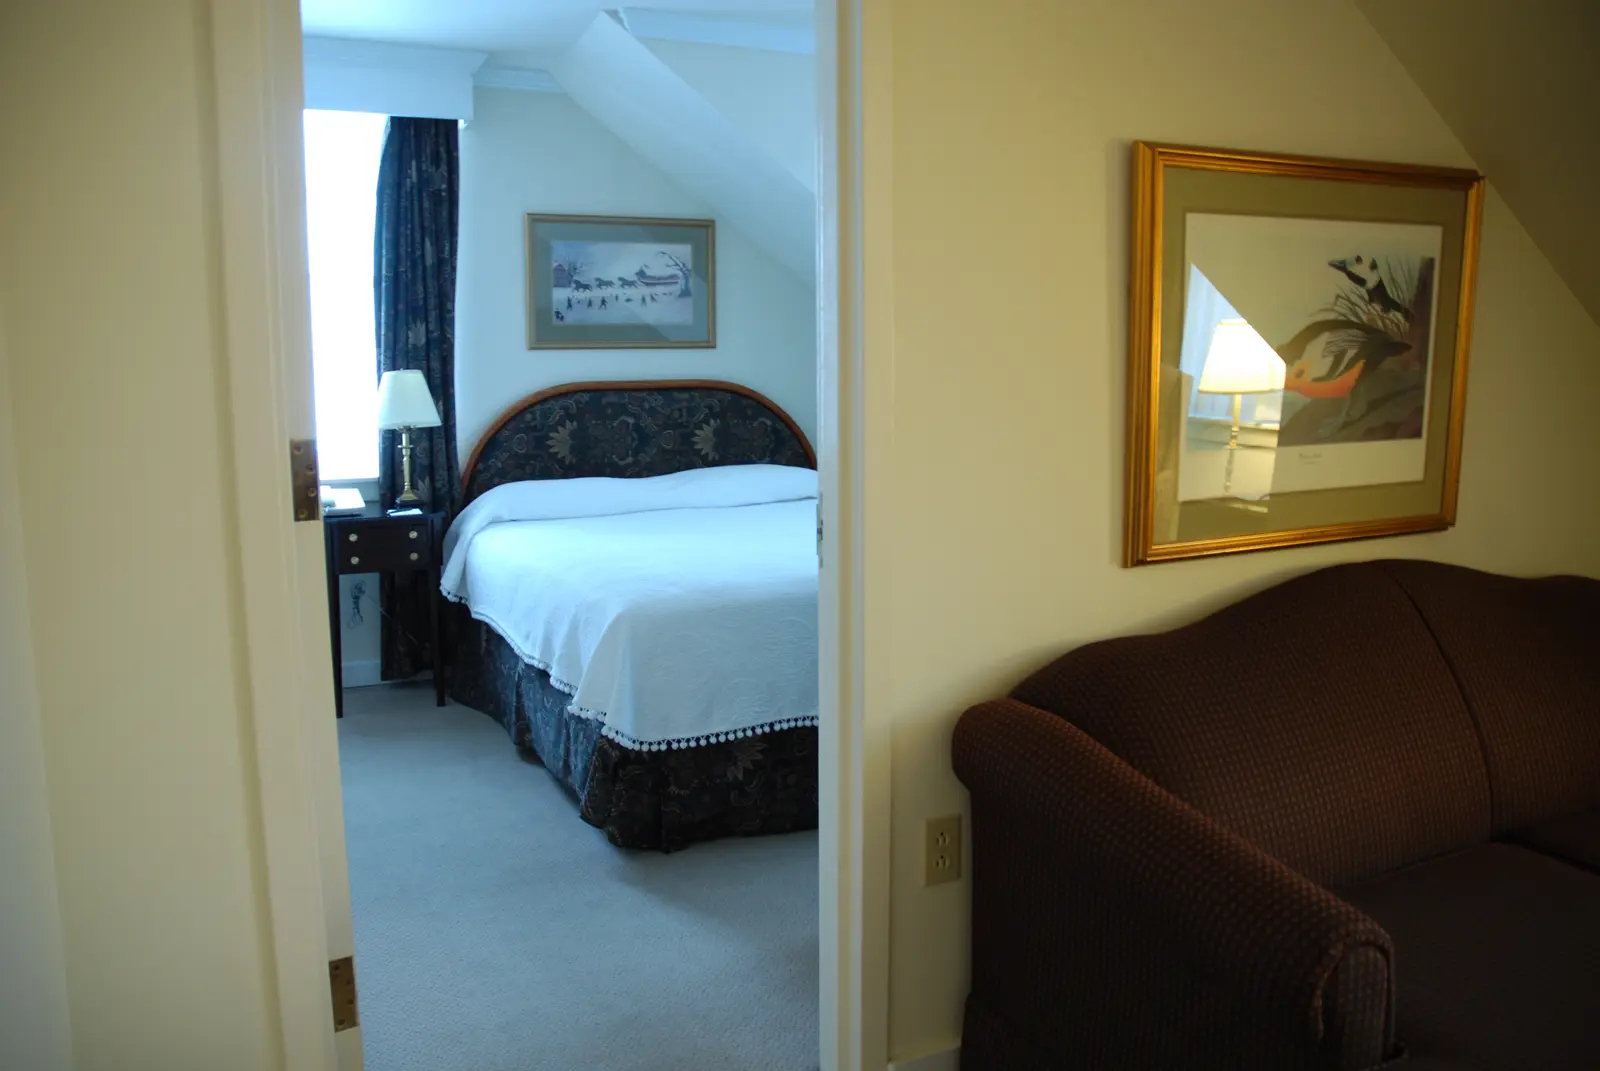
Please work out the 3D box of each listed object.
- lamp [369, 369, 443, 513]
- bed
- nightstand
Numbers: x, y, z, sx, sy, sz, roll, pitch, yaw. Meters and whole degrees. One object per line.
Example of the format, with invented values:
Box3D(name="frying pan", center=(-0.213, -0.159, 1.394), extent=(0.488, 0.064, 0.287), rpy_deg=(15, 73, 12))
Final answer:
Box3D(name="lamp", center=(-1.581, -0.430, 4.759), extent=(0.279, 0.561, 0.276), rpy_deg=(1, -3, -32))
Box3D(name="bed", center=(-0.373, 0.090, 4.333), extent=(1.492, 1.286, 1.942), rpy_deg=(-3, 12, -27))
Box3D(name="nightstand", center=(-1.694, 0.282, 4.792), extent=(0.492, 0.819, 0.466), rpy_deg=(-7, 14, -35))
